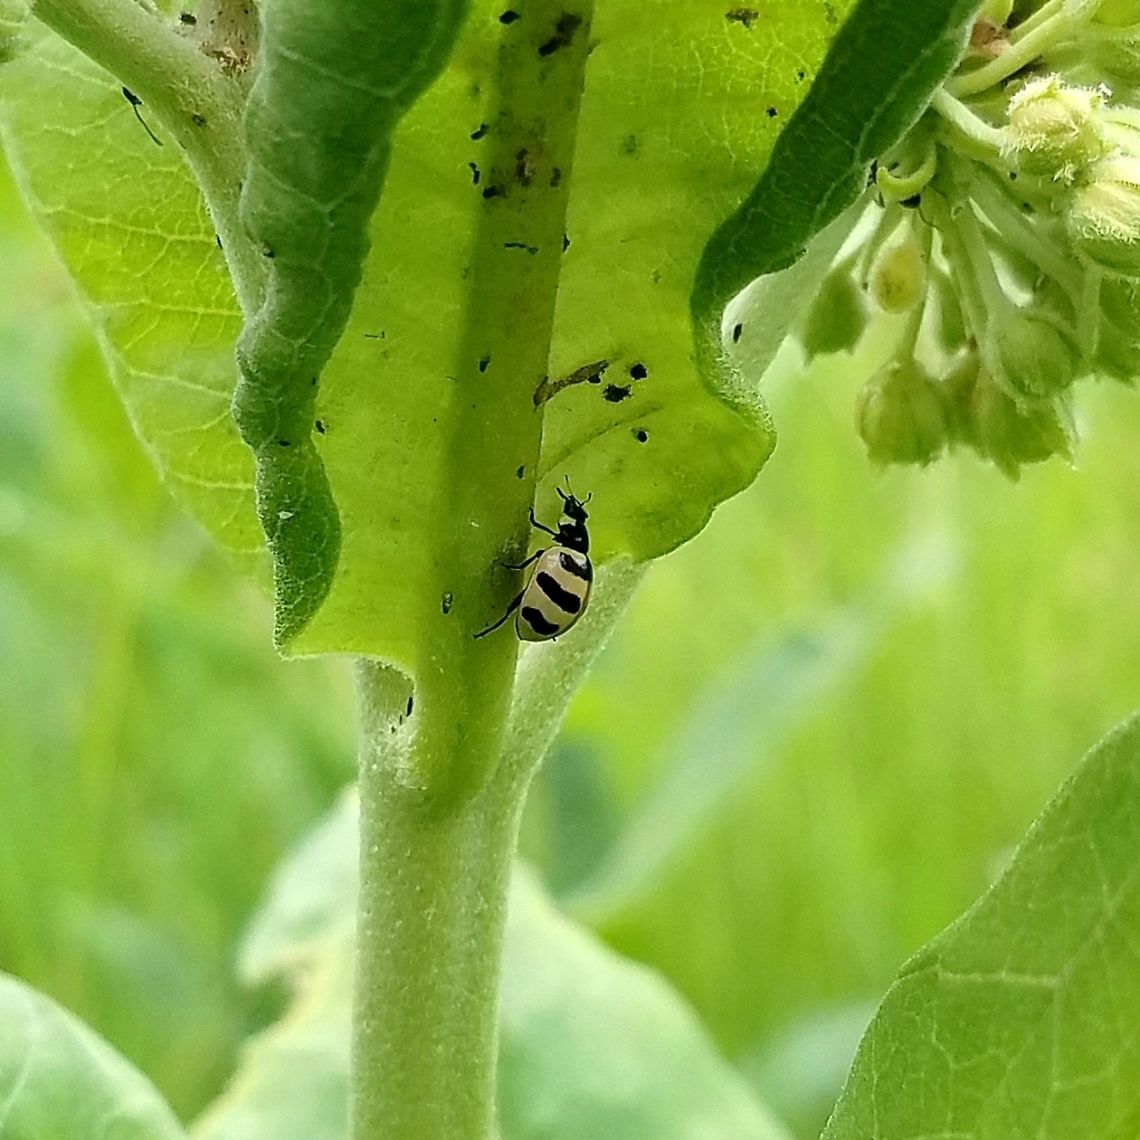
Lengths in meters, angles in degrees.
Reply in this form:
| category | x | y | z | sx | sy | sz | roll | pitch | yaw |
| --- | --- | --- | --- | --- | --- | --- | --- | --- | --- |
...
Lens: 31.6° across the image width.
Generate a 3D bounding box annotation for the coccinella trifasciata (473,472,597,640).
| category | x | y | z | sx | sy | sz | roll | pitch | yaw |
| --- | --- | --- | --- | --- | --- | --- | --- | --- | --- |
| coccinella trifasciata | -0.016 | -0.010 | 0.823 | 0.019 | 0.053 | 0.058 | 23 | -65 | 41 |
